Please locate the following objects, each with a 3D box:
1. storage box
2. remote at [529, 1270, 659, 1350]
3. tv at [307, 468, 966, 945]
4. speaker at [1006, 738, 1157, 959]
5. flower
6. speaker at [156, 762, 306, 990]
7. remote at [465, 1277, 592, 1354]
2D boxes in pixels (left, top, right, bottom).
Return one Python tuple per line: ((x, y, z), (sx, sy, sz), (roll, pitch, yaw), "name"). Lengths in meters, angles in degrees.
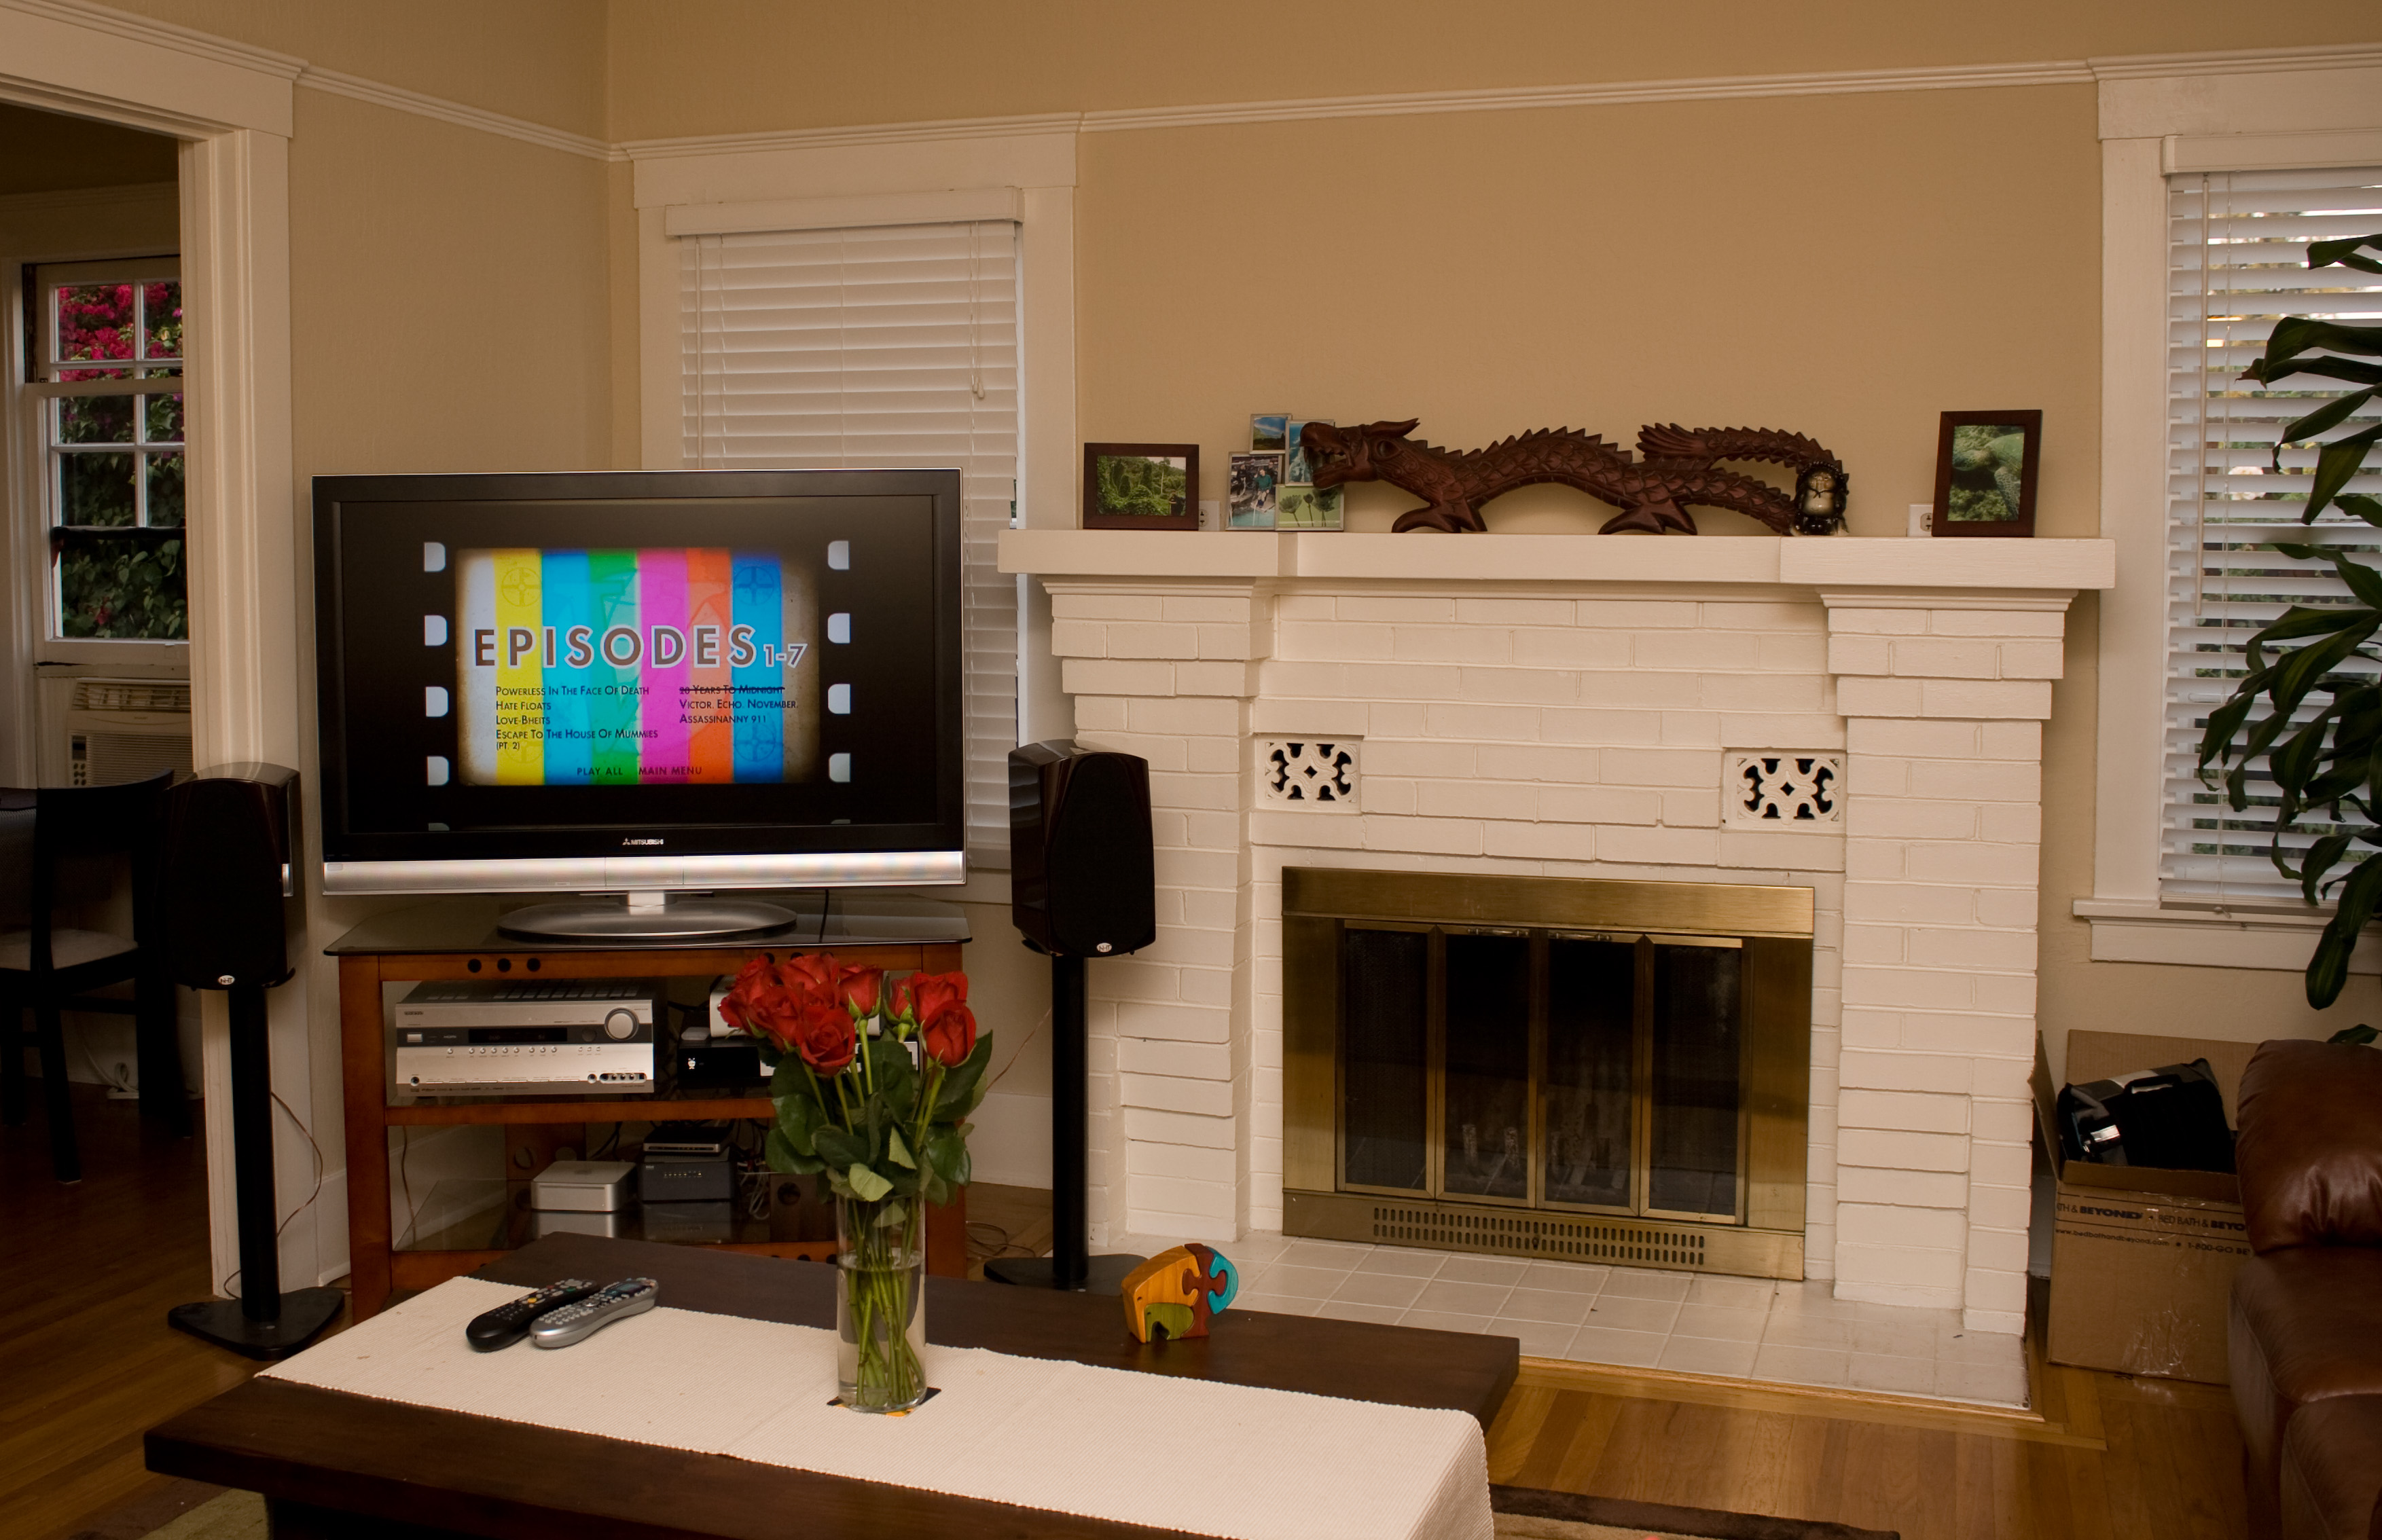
((2.340, 1.083, 4.489), (0.442, 0.736, 0.528), (2, 7, 24), "storage box")
((-1.078, 0.983, 3.272), (0.079, 0.034, 0.174), (5, 9, 25), "remote")
((-1.502, -0.205, 4.769), (1.374, 0.894, 0.386), (0, 0, -2), "tv")
((-0.295, 0.210, 4.714), (0.349, 0.541, 0.250), (-2, 6, -10), "speaker")
((-0.548, 0.512, 3.165), (0.404, 0.430, 0.446), (-3, 0, -45), "flower")
((-2.372, 0.278, 4.451), (0.269, 0.524, 0.174), (-5, 8, -34), "speaker")
((-1.196, 0.982, 3.276), (0.086, 0.050, 0.188), (8, 13, 33), "remote")
